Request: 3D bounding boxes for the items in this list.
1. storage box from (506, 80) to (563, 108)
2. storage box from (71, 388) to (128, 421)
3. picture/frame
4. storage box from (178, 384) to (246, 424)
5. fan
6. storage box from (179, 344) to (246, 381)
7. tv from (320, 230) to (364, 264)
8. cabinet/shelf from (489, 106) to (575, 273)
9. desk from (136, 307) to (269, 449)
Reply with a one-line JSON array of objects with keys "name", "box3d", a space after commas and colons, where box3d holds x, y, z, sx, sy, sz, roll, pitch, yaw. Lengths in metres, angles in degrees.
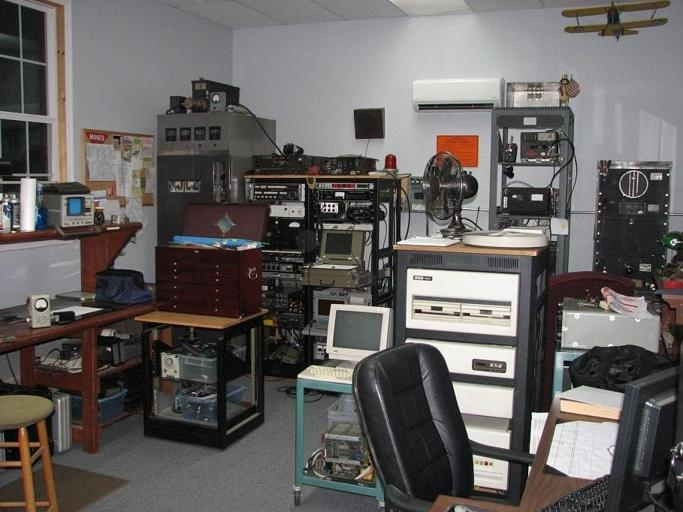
[{"name": "storage box", "box3d": [1.842, -1.569, 5.613, 0.542, 0.251, 0.219, 8, 11, 32]}, {"name": "storage box", "box3d": [-1.820, 1.133, 4.387, 0.203, 0.133, 0.307, 0, 0, 28]}, {"name": "picture/frame", "box3d": [-2.136, -0.865, 5.619, 0.772, 0.604, 0.066, 8, 6, 14]}, {"name": "storage box", "box3d": [-0.980, 1.098, 4.416, 0.248, 0.148, 0.364, 0, -1, 30]}, {"name": "fan", "box3d": [0.737, -0.402, 3.726, 0.307, 0.525, 0.414, -3, 7, -23]}, {"name": "storage box", "box3d": [-0.957, 0.790, 4.254, 0.312, 0.201, 0.319, 5, 7, 27]}, {"name": "tv", "box3d": [0.005, -0.089, 5.462, 0.418, 0.301, 0.186, 4, 10, 14]}, {"name": "cabinet/shelf", "box3d": [1.783, -0.608, 5.491, 0.847, 1.508, 1.294, 6, 10, 22]}, {"name": "desk", "box3d": [-1.072, 0.807, 4.634, 0.964, 1.256, 0.973, 5, 8, 34]}]
